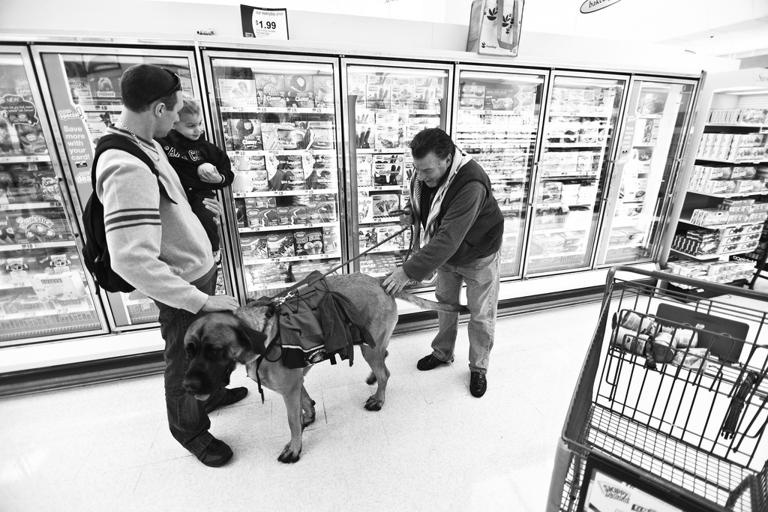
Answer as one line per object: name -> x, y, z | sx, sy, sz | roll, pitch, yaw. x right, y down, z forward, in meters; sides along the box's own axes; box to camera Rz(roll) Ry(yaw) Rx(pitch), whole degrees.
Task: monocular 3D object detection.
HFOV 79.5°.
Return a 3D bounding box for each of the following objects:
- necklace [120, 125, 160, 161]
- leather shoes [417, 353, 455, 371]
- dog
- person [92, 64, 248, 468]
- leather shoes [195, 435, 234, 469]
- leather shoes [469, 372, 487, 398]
necklace -> -1.734, -0.850, 3.305 | 0.287, 0.151, 0.203 | -22, 37, -24
leather shoes -> 0.517, 1.041, 4.554 | 0.402, 0.153, 0.137 | -3, 45, -4
dog -> -0.379, 0.805, 3.752 | 2.234, 1.102, 0.691 | -11, 6, -34
person -> -1.559, 0.220, 3.380 | 0.695, 3.018, 0.755 | -13, 22, -25
leather shoes -> -1.378, 1.568, 3.736 | 0.340, 0.133, 0.186 | 13, 29, 19
leather shoes -> 0.865, 1.181, 4.216 | 0.116, 0.097, 0.249 | -1, 33, 1
